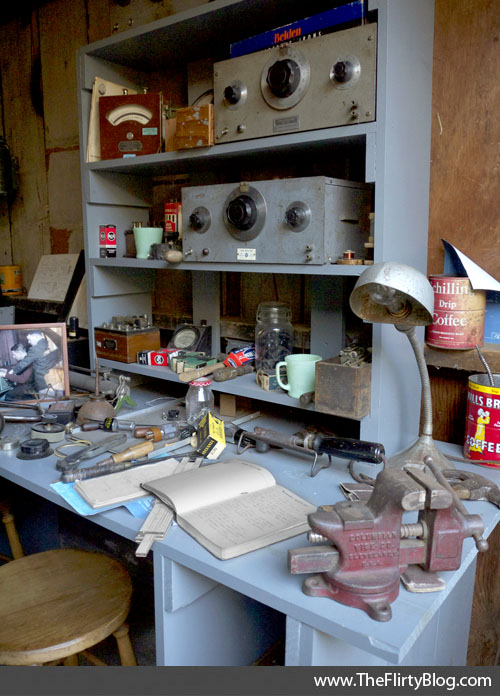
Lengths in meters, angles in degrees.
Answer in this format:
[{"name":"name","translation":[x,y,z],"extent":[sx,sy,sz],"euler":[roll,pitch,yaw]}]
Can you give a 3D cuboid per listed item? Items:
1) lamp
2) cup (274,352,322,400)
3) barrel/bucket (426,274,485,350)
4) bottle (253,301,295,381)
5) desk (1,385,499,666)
[{"name":"lamp","translation":[0.302,0.045,1.103],"extent":[0.246,0.381,0.155],"euler":[11,-8,-37]},{"name":"cup","translation":[0.135,0.071,1.471],"extent":[0.104,0.115,0.107],"euler":[5,14,-1]},{"name":"barrel/bucket","translation":[0.494,-0.081,1.435],"extent":[0.167,0.211,0.149],"euler":[11,17,21]},{"name":"bottle","translation":[0.069,-0.027,1.693],"extent":[0.109,0.183,0.108],"euler":[-1,8,0]},{"name":"desk","translation":[0.018,0.363,1.208],"extent":[0.465,0.427,0.881],"euler":[1,3,-37]}]
